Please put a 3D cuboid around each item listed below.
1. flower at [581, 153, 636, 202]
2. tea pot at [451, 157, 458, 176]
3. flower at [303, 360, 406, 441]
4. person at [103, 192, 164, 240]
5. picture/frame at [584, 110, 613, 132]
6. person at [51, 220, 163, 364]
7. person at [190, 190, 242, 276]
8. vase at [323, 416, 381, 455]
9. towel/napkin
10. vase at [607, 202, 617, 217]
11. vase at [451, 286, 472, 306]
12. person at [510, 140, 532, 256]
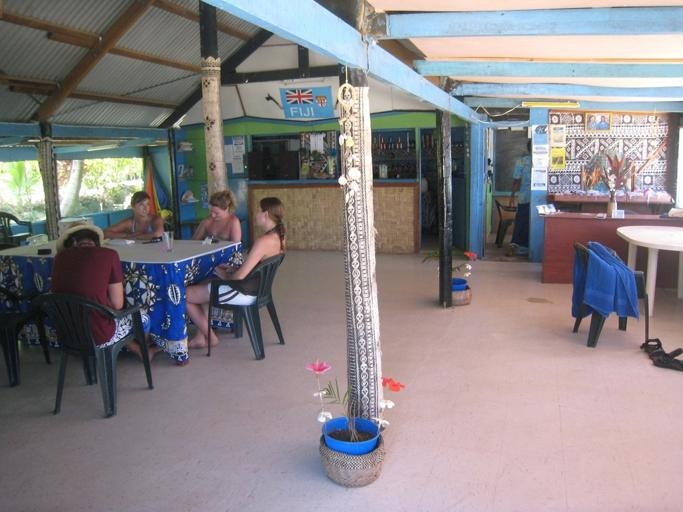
[{"bbox_3d":[4.524,-1.386,8.672,0.844,0.617,1.017,-2,10,10],"label":"flower"},{"bbox_3d":[2.475,-1.924,11.237,0.155,0.391,0.525,-1,9,13],"label":"tea pot"},{"bbox_3d":[0.042,1.081,3.860,0.625,0.562,0.488,8,12,-22],"label":"flower"},{"bbox_3d":[-2.522,-0.459,6.391,0.721,0.604,0.435,1,10,-14],"label":"person"},{"bbox_3d":[4.571,-2.398,9.219,0.340,0.320,0.037,1,10,12],"label":"picture/frame"},{"bbox_3d":[-2.180,0.289,4.630,0.650,1.313,0.877,-5,3,20],"label":"person"},{"bbox_3d":[-1.454,-0.304,5.975,0.518,0.782,0.643,16,24,32],"label":"person"},{"bbox_3d":[0.074,1.286,3.869,0.469,0.183,0.480,-10,-18,29],"label":"vase"},{"bbox_3d":[2.815,0.278,5.849,0.753,1.034,0.819,-3,14,17],"label":"towel/napkin"},{"bbox_3d":[4.040,-0.678,7.747,0.130,0.224,0.158,1,10,25],"label":"vase"},{"bbox_3d":[1.639,0.560,6.968,0.370,0.221,0.114,-9,11,-34],"label":"vase"},{"bbox_3d":[3.556,-1.005,10.326,0.335,1.899,0.711,0,10,18],"label":"person"}]
